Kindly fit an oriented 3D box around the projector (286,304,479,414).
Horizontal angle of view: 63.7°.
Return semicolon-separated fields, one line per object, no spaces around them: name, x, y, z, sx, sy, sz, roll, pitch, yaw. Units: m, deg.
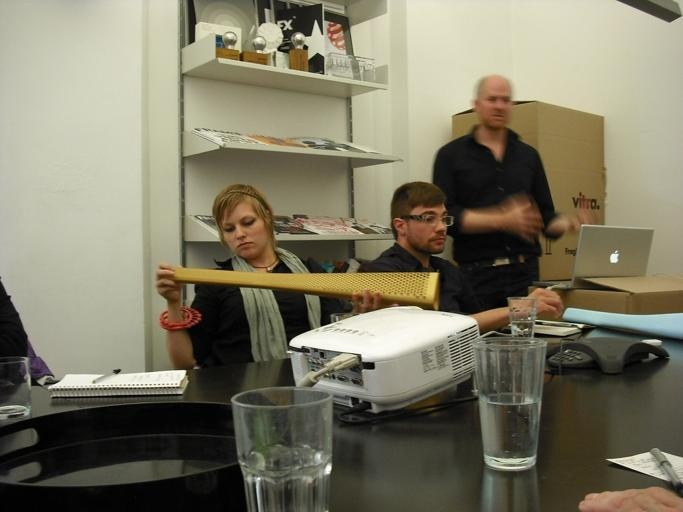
projector;0.084;0.197;1.121;0.299;0.132;0.367;-3;3;34

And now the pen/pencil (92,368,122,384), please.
pen/pencil;-0.493;0.249;1.147;0.017;0.007;0.072;5;4;12

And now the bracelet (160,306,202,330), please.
bracelet;-0.473;0.182;1.627;0.093;0.019;0.086;0;12;-3

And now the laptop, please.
laptop;0.996;-0.013;2.174;0.430;0.215;0.300;0;-3;-35

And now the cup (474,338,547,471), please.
cup;0.233;0.207;0.772;0.092;0.181;0.059;2;8;17

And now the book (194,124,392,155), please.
book;-0.259;-0.550;2.636;0.865;0.103;0.309;-5;8;-35
